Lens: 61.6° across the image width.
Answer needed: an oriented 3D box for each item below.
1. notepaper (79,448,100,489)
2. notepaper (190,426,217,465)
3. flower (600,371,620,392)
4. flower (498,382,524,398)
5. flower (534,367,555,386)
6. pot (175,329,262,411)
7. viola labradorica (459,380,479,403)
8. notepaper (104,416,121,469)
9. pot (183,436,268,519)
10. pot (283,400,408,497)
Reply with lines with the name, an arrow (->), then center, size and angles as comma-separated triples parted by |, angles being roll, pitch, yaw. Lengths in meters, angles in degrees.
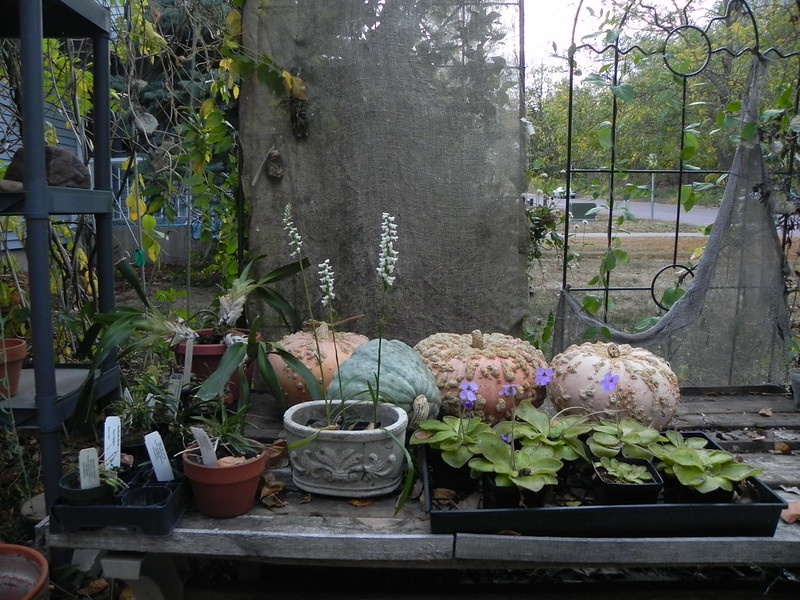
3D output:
notepaper -> -1.091, 0.595, 2.366 | 0.063, 0.141, 0.012 | -11, -22, -9
notepaper -> -0.690, 0.530, 2.401 | 0.080, 0.145, 0.023 | 0, 5, 5
flower -> 0.870, 0.346, 2.796 | 0.079, 0.110, 0.145 | 1, 9, 16
flower -> 0.465, 0.391, 2.819 | 0.077, 0.030, 0.074 | 12, -20, -40
flower -> 0.592, 0.324, 2.801 | 0.061, 0.065, 0.085 | 2, 9, 19
pot -> -0.851, 0.292, 3.249 | 0.402, 0.305, 0.413 | 0, 4, 0
viola labradorica -> 0.275, 0.364, 2.659 | 0.084, 0.082, 0.022 | -2, -7, -19
notepaper -> -1.054, 0.525, 2.465 | 0.050, 0.179, 0.008 | 1, -10, -20
pot -> -0.669, 0.693, 2.547 | 0.305, 0.193, 0.300 | 2, 1, 0
pot -> -0.205, 0.617, 2.659 | 0.488, 0.253, 0.352 | -1, 1, 4
